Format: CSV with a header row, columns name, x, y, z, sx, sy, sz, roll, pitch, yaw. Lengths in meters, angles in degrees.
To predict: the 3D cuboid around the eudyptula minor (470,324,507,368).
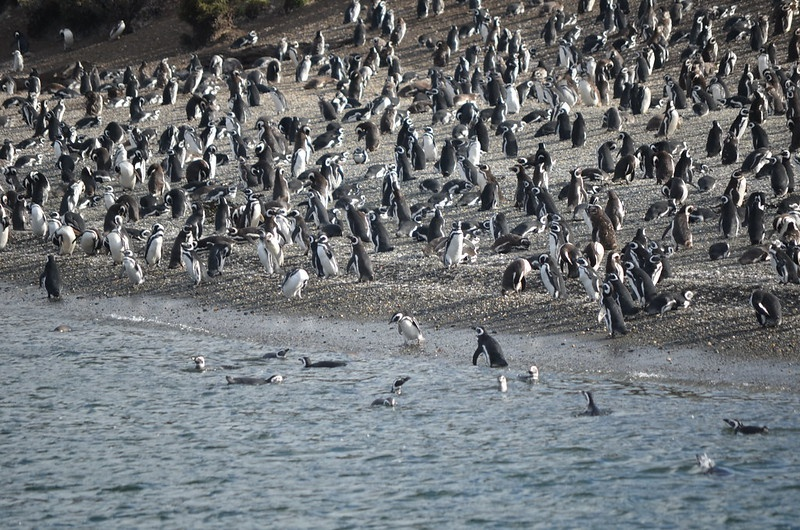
name,x,y,z,sx,sy,sz,roll,pitch,yaw
eudyptula minor,2.681,2.400,50.297,0.906,0.938,1.279,-21,40,-34
